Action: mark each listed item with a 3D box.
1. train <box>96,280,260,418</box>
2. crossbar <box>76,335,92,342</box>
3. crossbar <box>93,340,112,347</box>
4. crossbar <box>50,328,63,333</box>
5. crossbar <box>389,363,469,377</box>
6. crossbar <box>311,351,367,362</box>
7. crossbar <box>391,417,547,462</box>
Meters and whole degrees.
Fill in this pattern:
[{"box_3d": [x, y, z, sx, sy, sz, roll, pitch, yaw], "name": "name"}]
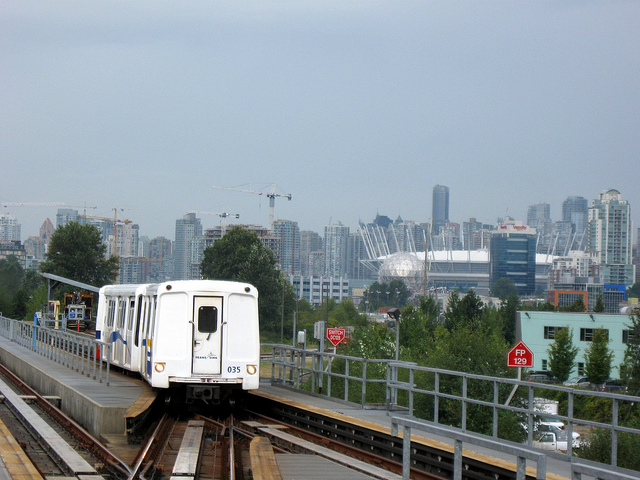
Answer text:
[{"box_3d": [-6.398, 4.100, 43.554, 4.379, 5.003, 13.883, 2, -2, -26], "name": "train"}, {"box_3d": [-9.745, 4.138, 44.208, 0.294, 0.144, 2.712, 1, -2, -23], "name": "crossbar"}, {"box_3d": [-8.962, 4.290, 43.955, 0.515, 0.154, 0.541, 18, 2, 1], "name": "crossbar"}, {"box_3d": [-12.441, 4.316, 50.041, 0.633, 0.112, 0.168, 1, -27, 42], "name": "crossbar"}, {"box_3d": [3.455, 4.299, 35.250, 0.841, 0.222, 4.063, 2, -2, -28], "name": "crossbar"}, {"box_3d": [0.712, 4.321, 39.323, 0.887, 0.252, 4.075, 1, -2, -20], "name": "crossbar"}, {"box_3d": [3.848, 5.313, 28.246, 4.110, 0.825, 0.335, 0, -2, 29], "name": "crossbar"}]
